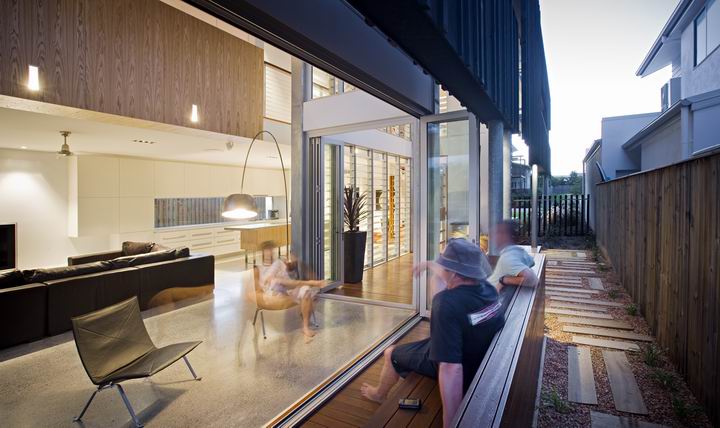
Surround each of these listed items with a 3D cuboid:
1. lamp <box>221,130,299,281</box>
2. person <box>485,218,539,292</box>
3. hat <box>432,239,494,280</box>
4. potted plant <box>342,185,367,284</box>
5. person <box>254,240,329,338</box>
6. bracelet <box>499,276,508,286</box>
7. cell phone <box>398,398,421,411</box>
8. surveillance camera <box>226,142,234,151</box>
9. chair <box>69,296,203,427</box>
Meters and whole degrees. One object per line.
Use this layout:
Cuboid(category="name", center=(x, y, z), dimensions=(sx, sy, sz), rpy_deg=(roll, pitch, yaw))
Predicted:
Cuboid(category="lamp", center=(-1.365, -0.211, 7.034), dimensions=(0.878, 1.920, 3.096), rpy_deg=(-3, 1, 4))
Cuboid(category="person", center=(2.057, 0.638, 5.934), dimensions=(0.601, 0.949, 1.105), rpy_deg=(-3, -18, 15))
Cuboid(category="hat", center=(1.038, 0.447, 4.175), dimensions=(0.447, 0.190, 0.424), rpy_deg=(20, 20, 24))
Cuboid(category="potted plant", center=(-0.093, 0.422, 9.132), dimensions=(0.409, 1.930, 0.847), rpy_deg=(-3, 1, 13))
Cuboid(category="person", center=(-0.988, 1.222, 6.522), dimensions=(1.076, 1.370, 0.579), rpy_deg=(-6, -34, 2))
Cuboid(category="bracelet", center=(1.864, 0.868, 5.426), dimensions=(0.130, 0.071, 0.171), rpy_deg=(0, 0, 16))
Cuboid(category="cell phone", center=(0.494, 1.876, 4.133), dimensions=(0.154, 0.049, 0.115), rpy_deg=(2, 5, 14))
Cuboid(category="surveillance camera", center=(-1.715, -0.904, 5.533), dimensions=(0.096, 0.102, 0.308), rpy_deg=(-3, 1, -19))
Cuboid(category="chair", center=(-2.762, 1.551, 5.065), dimensions=(1.205, 1.248, 1.377), rpy_deg=(-2, 1, 16))
